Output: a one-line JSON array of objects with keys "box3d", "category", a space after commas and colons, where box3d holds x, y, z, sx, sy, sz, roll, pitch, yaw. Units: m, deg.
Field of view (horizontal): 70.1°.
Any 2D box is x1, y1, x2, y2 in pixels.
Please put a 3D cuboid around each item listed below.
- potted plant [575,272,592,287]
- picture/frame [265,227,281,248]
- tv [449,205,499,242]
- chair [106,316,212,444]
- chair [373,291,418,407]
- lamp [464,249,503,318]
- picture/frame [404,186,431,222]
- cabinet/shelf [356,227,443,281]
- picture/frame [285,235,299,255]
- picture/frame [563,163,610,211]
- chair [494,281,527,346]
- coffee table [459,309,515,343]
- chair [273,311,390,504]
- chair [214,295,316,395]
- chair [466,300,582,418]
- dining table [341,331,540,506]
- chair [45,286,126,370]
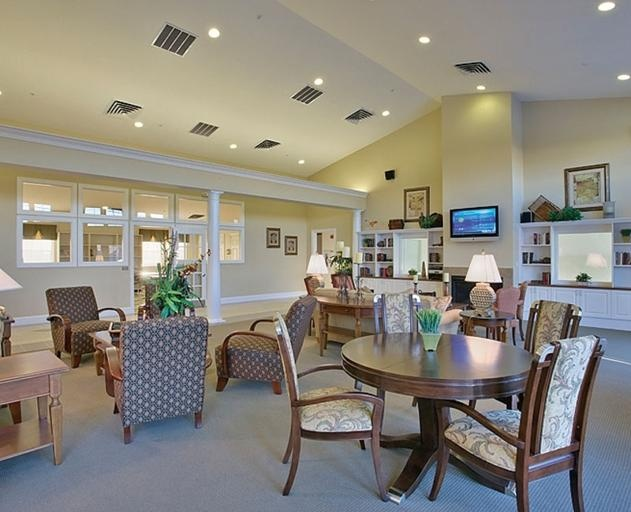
[{"box3d": [4.702, 0.420, 7.864, 0.212, 0.174, 0.220, 1, 2, 34], "category": "potted plant"}, {"box3d": [-1.182, -0.492, 12.129, 0.052, 0.574, 0.533, 3, 2, 43], "category": "picture/frame"}, {"box3d": [3.133, -0.622, 8.738, 0.689, 0.551, 0.097, 0, 0, 41], "category": "tv"}, {"box3d": [-1.371, 0.959, 4.346, 0.997, 1.386, 0.984, -1, 3, -24], "category": "chair"}, {"box3d": [0.821, 0.843, 4.372, 0.596, 0.922, 0.654, -3, -5, 26], "category": "chair"}, {"box3d": [1.983, 0.349, 5.384, 0.387, 0.704, 0.372, 7, -3, -33], "category": "lamp"}, {"box3d": [2.359, -1.185, 10.295, 0.077, 1.133, 0.792, 1, 0, -41], "category": "picture/frame"}, {"box3d": [1.951, -0.040, 10.435, 0.573, 1.276, 2.404, -7, 9, -43], "category": "cabinet/shelf"}, {"box3d": [-0.699, -0.299, 12.620, 0.056, 0.576, 0.531, -3, -2, 41], "category": "picture/frame"}, {"box3d": [4.904, -1.208, 8.136, 0.628, 0.895, 0.024, -1, -26, 36], "category": "picture/frame"}, {"box3d": [2.858, 0.874, 6.629, 0.509, 0.775, 0.469, -10, -10, 41], "category": "chair"}, {"box3d": [2.139, 0.840, 5.601, 0.545, 0.652, 0.576, 0, -1, 3], "category": "coffee table"}, {"box3d": [0.114, 1.090, 3.481, 0.825, 1.291, 0.664, 0, 7, 1], "category": "chair"}, {"box3d": [-0.573, 0.964, 5.180, 0.958, 1.053, 0.868, 5, 4, 9], "category": "chair"}, {"box3d": [1.971, 0.812, 4.007, 0.494, 0.852, 0.505, 15, -6, -25], "category": "chair"}, {"box3d": [1.003, 1.286, 3.777, 1.414, 0.989, 1.476, -8, -1, 27], "category": "dining table"}, {"box3d": [-3.153, 0.866, 6.400, 1.153, 1.303, 0.966, 2, 3, 41], "category": "chair"}]
